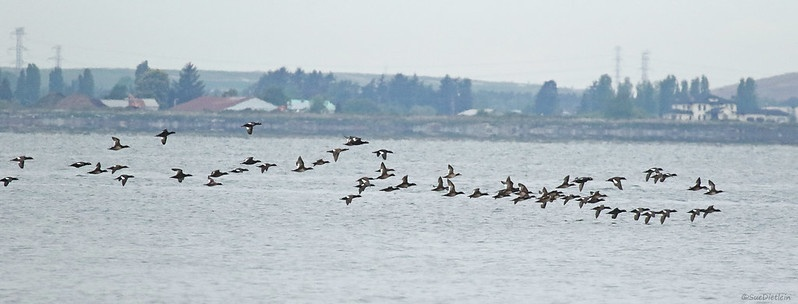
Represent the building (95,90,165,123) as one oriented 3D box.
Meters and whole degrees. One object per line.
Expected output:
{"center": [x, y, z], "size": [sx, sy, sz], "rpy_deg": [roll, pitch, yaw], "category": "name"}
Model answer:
{"center": [-75.904, -13.441, 341.811], "size": [17.448, 3.740, 8.402], "rpy_deg": [1, -18, -16], "category": "building"}
